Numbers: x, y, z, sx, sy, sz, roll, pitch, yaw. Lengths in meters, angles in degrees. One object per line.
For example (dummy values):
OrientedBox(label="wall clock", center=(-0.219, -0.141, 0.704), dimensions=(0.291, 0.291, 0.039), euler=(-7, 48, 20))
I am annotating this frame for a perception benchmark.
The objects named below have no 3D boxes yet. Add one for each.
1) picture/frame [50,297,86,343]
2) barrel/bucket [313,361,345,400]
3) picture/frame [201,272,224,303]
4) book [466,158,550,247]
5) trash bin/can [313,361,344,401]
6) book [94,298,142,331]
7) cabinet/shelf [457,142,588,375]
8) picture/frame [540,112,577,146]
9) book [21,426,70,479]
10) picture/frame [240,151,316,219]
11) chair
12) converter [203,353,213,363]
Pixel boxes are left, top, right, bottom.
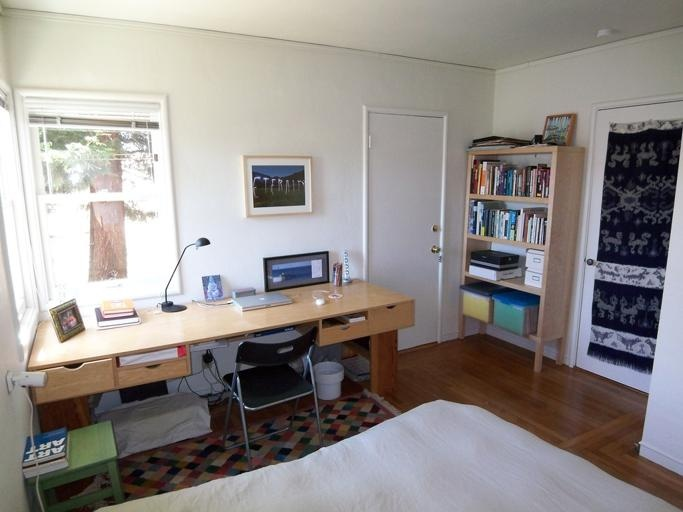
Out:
OrientedBox(label="picture/frame", center=(-1.818, 0.431, 3.225), dimensions=(0.035, 0.212, 0.209), euler=(-11, 11, 17))
OrientedBox(label="barrel/bucket", center=(-0.124, 1.006, 3.952), dimensions=(0.265, 0.206, 0.242), euler=(1, 2, 0))
OrientedBox(label="picture/frame", center=(-1.027, 0.248, 3.829), dimensions=(0.215, 0.293, 0.031), euler=(-3, 5, -26))
OrientedBox(label="book", center=(1.549, -0.512, 4.490), dimensions=(0.236, 0.739, 0.742), euler=(-6, 13, -37))
OrientedBox(label="trash bin/can", center=(-0.106, 1.000, 3.961), dimensions=(0.265, 0.207, 0.243), euler=(0, 2, -32))
OrientedBox(label="book", center=(-1.569, 0.388, 3.391), dimensions=(0.216, 0.102, 0.217), euler=(-3, 11, -31))
OrientedBox(label="cabinet/shelf", center=(1.641, -0.026, 4.587), dimensions=(0.554, 1.972, 0.979), euler=(-12, 15, -39))
OrientedBox(label="picture/frame", center=(1.942, -1.121, 4.340), dimensions=(0.052, 0.384, 0.323), euler=(7, 7, -32))
OrientedBox(label="book", center=(-1.611, 1.055, 2.654), dimensions=(0.205, 0.152, 0.289), euler=(-9, 13, -27))
OrientedBox(label="picture/frame", center=(-0.543, -0.585, 3.959), dimensions=(0.537, 0.432, 0.023), euler=(-5, 10, -30))
OrientedBox(label="chair", center=(-0.516, 0.992, 3.380), dimensions=(0.625, 1.107, 0.628), euler=(-8, 23, -34))
OrientedBox(label="converter", center=(-1.058, 0.806, 3.863), dimensions=(0.076, 0.076, 0.071), euler=(0, 10, -26))
